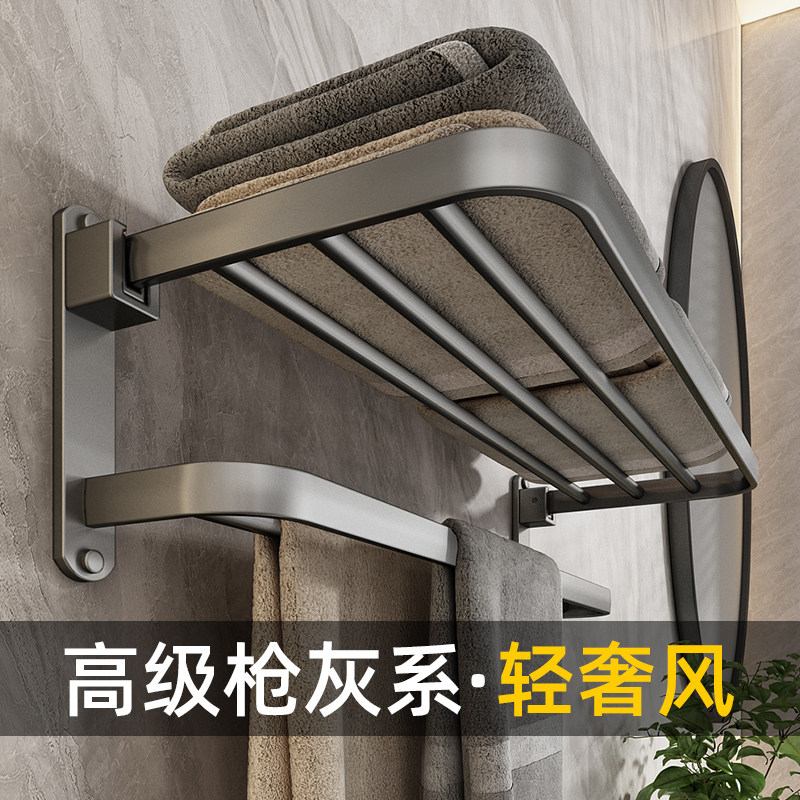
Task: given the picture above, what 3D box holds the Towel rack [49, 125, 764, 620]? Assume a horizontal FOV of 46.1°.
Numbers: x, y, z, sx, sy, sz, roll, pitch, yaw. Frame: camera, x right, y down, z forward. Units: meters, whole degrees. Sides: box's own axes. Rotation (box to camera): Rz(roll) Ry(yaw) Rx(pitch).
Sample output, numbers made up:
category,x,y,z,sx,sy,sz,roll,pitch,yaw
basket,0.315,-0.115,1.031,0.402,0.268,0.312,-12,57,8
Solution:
category,x,y,z,sx,sy,sz,roll,pitch,yaw
Towel rack,0.057,0.027,0.611,0.277,0.213,0.497,-6,-12,29
